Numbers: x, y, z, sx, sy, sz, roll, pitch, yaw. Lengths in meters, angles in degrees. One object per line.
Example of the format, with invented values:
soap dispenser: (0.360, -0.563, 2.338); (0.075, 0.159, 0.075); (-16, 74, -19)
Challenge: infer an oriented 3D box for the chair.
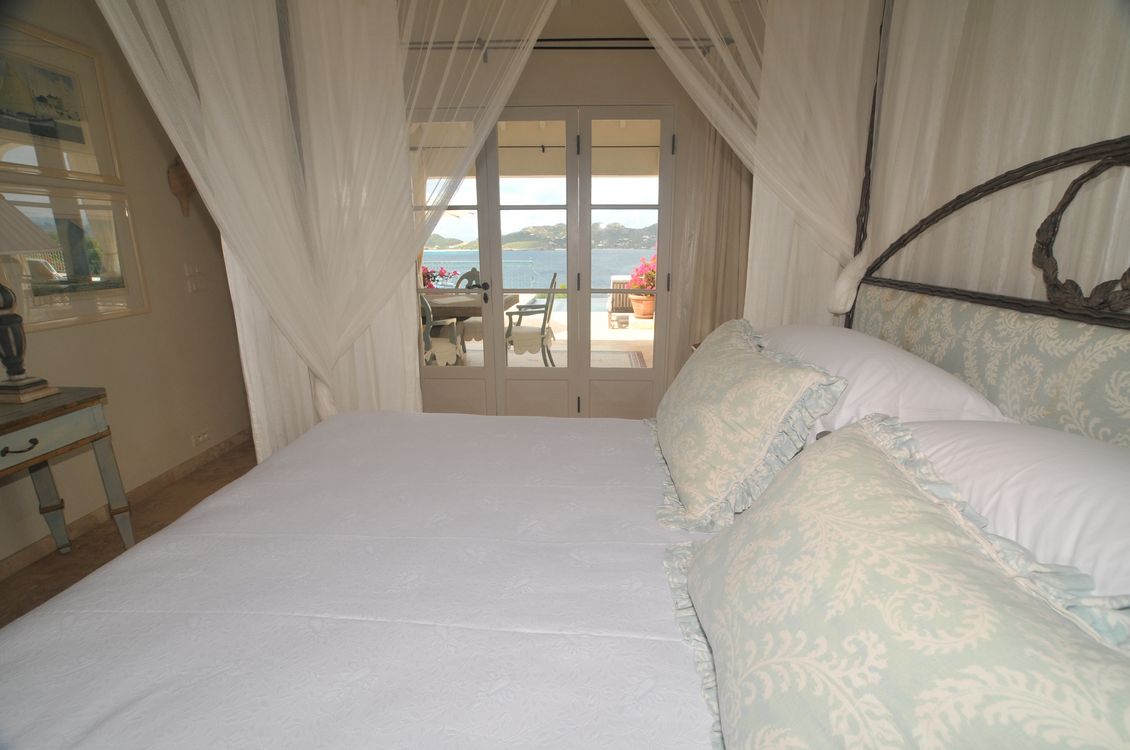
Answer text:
chair: (-0.484, -0.626, 4.564); (0.971, 0.736, 0.600); (1, 18, 2)

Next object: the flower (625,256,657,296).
flower: (0.507, -0.727, 4.267); (0.204, 0.209, 0.208); (8, 13, -10)

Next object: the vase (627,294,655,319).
vase: (0.492, -0.535, 4.330); (0.160, 0.112, 0.159); (-14, 20, -41)
